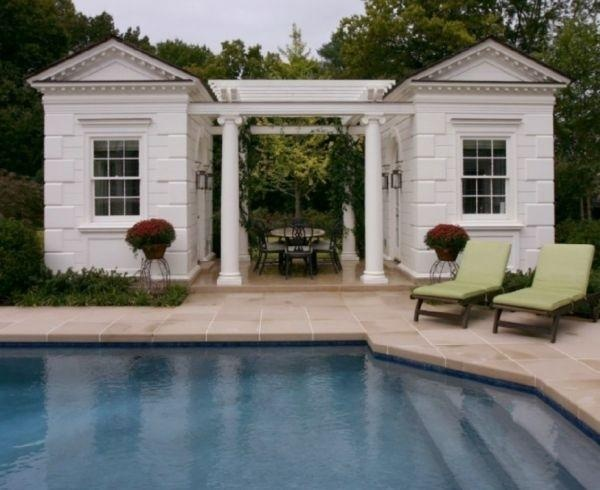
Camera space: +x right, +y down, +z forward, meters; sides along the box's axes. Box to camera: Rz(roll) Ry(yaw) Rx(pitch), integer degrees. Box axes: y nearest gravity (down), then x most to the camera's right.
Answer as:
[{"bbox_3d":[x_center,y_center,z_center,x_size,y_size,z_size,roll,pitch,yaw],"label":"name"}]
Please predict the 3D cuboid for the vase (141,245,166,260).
[{"bbox_3d":[-2.638,0.129,9.950,0.301,0.171,0.297,-1,1,-35],"label":"vase"}]

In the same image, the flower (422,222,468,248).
[{"bbox_3d":[2.652,-0.172,9.975,0.500,0.344,0.529,2,3,42],"label":"flower"}]
